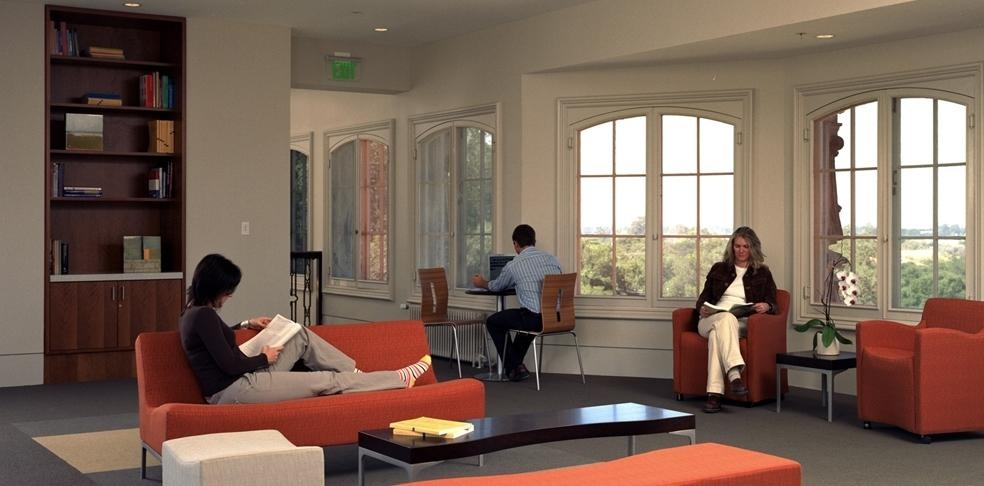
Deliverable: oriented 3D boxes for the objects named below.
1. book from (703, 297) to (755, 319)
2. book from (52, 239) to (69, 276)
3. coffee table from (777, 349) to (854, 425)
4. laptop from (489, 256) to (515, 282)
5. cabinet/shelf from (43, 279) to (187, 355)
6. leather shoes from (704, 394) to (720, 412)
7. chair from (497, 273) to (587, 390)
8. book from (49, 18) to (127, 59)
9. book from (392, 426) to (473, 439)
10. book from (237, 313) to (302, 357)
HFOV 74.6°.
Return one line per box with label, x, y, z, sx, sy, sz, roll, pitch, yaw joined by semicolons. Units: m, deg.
book;3.048;0.874;8.338;0.659;0.228;0.298;2;9;14
book;-6.179;0.207;9.217;0.331;0.483;0.561;1;0;-29
coffee table;3.946;1.788;8.104;0.973;0.785;0.928;4;-6;-33
laptop;0.150;0.371;9.396;0.430;0.362;0.233;0;1;37
cabinet/shelf;-5.285;1.009;8.828;1.323;0.628;0.365;1;-3;-24
leather shoes;2.766;1.978;8.102;0.262;0.233;0.161;0;10;0
chair;0.873;1.199;9.221;0.875;1.636;1.013;2;10;9
book;-5.938;-2.985;9.392;0.797;0.373;0.290;1;-2;-25
book;-0.545;1.629;5.728;0.755;0.093;0.244;0;9;2
book;-2.237;0.943;6.490;0.520;0.140;0.392;-31;38;-26
